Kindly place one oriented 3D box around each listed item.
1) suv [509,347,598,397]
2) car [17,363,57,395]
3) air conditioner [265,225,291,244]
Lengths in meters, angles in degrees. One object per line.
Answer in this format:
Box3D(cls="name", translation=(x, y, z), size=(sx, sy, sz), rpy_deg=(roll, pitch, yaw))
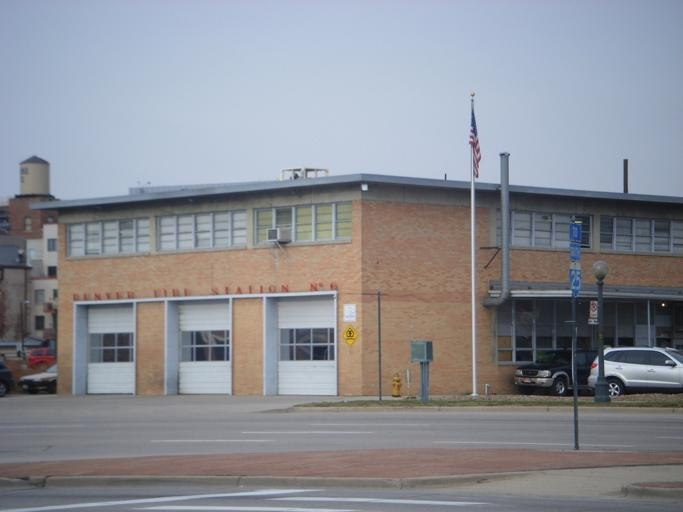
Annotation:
Box3D(cls="suv", translation=(8.460, 4.551, 56.651), size=(3.002, 1.290, 1.610), rpy_deg=(7, -10, -38))
Box3D(cls="car", translation=(-13.590, 5.613, 64.957), size=(1.560, 1.286, 1.270), rpy_deg=(-1, -4, -11))
Box3D(cls="air conditioner", translation=(-2.659, -0.736, 59.329), size=(0.937, 0.654, 0.661), rpy_deg=(-5, -8, 41))
